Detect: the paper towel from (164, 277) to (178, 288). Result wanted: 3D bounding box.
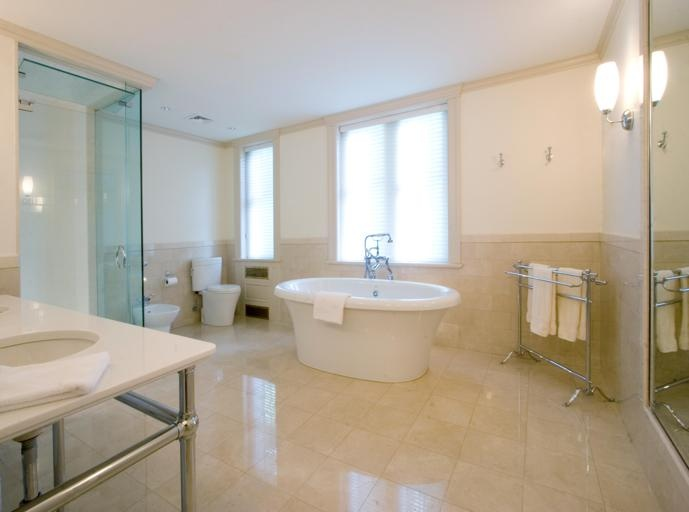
[{"bbox_3d":[-2.001,0.283,5.552,0.105,0.127,0.143,9,6,29],"label":"paper towel"}]

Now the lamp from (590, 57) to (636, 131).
[{"bbox_3d":[2.021,-1.195,3.628,0.300,0.435,0.152,0,3,-9],"label":"lamp"}]

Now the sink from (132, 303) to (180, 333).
[{"bbox_3d":[-1.941,0.628,5.019,0.471,0.296,0.394,1,-4,2],"label":"sink"}]

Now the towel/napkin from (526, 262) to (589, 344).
[{"bbox_3d":[1.707,0.355,3.828,0.207,0.708,0.668,0,3,-30],"label":"towel/napkin"}]

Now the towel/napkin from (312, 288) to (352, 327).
[{"bbox_3d":[-0.116,0.417,3.925,0.261,0.273,0.097,2,5,25],"label":"towel/napkin"}]

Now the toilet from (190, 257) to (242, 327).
[{"bbox_3d":[-1.510,0.426,5.823,0.535,0.798,0.529,2,6,24],"label":"toilet"}]

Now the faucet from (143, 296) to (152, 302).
[{"bbox_3d":[-2.112,0.466,5.159,0.078,0.041,0.114,2,-4,-11],"label":"faucet"}]

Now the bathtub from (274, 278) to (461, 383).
[{"bbox_3d":[0.221,0.625,4.315,1.661,0.781,1.025,-1,5,26],"label":"bathtub"}]
